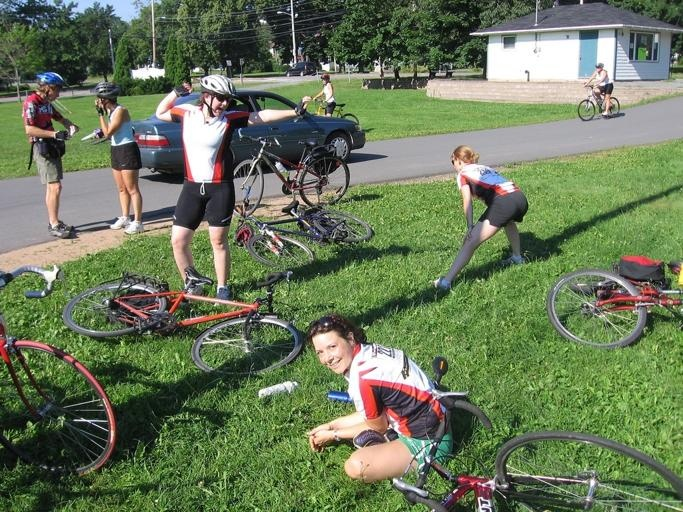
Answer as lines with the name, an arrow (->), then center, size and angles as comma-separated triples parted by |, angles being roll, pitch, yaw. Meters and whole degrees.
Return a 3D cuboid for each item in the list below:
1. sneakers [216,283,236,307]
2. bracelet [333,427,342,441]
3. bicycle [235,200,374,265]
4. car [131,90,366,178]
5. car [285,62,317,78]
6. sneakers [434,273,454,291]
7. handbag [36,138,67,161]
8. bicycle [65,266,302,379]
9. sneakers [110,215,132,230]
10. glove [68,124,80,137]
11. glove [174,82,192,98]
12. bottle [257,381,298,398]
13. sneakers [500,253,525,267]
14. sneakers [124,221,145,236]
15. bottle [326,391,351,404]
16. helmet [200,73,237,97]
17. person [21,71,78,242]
sneakers -> -1.345, 0.460, 7.213 | 0.147, 0.206, 0.454 | 0, -1, 3
bracelet -> -0.033, 1.515, 5.336 | 0.062, 0.099, 0.090 | 4, 55, 5
bicycle -> -0.545, -0.028, 9.395 | 1.129, 1.013, 1.918 | 32, 28, 36
car -> -1.830, -2.805, 14.479 | 5.240, 1.921, 2.269 | -14, 19, -32
car -> -4.611, -22.729, 77.655 | 1.912, 1.516, 4.286 | 8, 19, 31
sneakers -> 1.255, 0.309, 7.689 | 0.149, 0.086, 0.214 | 3, 27, 20
handbag -> -4.676, -1.722, 10.137 | 0.439, 0.358, 0.243 | -15, 19, -36
bicycle -> -1.721, 0.696, 6.857 | 2.278, 1.249, 1.299 | 10, 17, 27
sneakers -> -3.755, -0.559, 10.806 | 0.402, 0.195, 0.186 | -20, 35, -40
glove -> -4.426, -2.063, 10.426 | 0.131, 0.167, 0.369 | -11, 16, -15
glove -> -1.808, -1.885, 7.183 | 0.199, 0.147, 0.396 | -7, 16, -12
bottle -> -0.589, 1.254, 5.963 | 0.402, 0.131, 0.135 | -12, -16, -13
sneakers -> 2.271, 0.067, 8.297 | 0.321, 0.159, 0.141 | 8, 19, 33
sneakers -> -3.432, -0.462, 10.430 | 0.171, 0.157, 0.343 | 3, 2, 22
bottle -> -0.022, 1.286, 5.723 | 0.257, 0.088, 0.090 | 7, 12, 4
helmet -> -1.331, -1.826, 6.747 | 0.309, 0.129, 0.214 | 14, 23, 35
person -> -4.744, -1.646, 10.349 | 0.694, 2.628, 1.479 | -10, 16, -25
